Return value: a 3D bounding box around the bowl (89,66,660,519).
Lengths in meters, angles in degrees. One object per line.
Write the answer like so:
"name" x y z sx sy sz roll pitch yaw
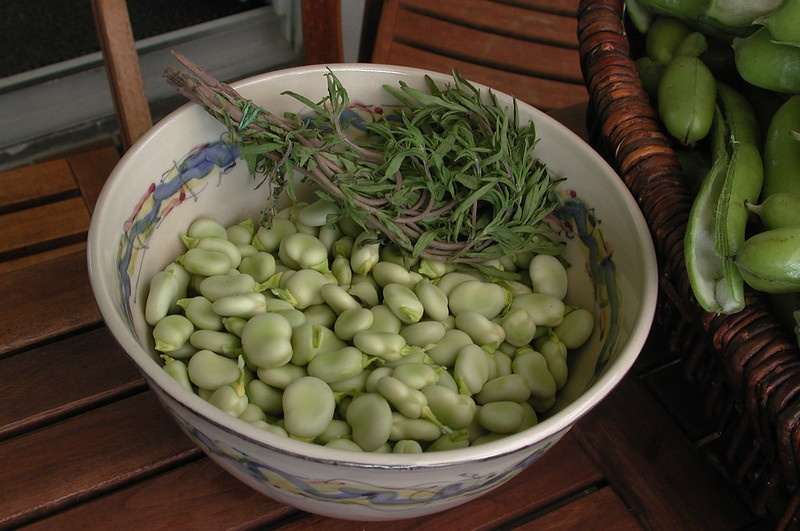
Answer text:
"bowl" -0.031 0.106 0.773 0.528 0.217 0.503 7 45 -7
